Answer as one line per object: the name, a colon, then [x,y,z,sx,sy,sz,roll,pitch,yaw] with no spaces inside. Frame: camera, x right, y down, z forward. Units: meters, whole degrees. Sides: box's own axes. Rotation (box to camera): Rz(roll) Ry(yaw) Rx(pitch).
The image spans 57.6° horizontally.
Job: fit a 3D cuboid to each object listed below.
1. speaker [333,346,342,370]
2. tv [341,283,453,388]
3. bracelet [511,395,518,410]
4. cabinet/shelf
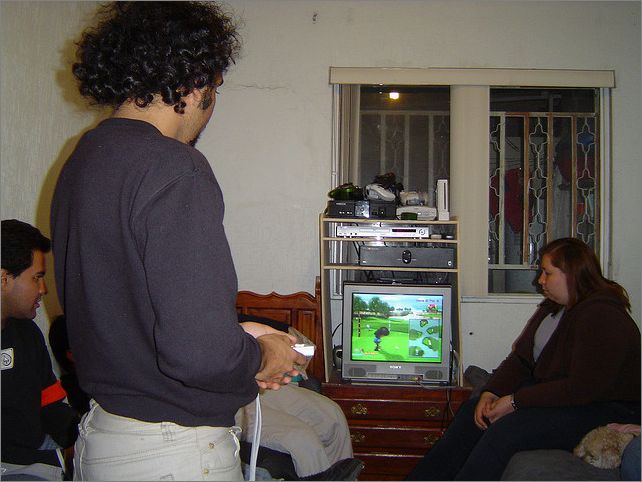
speaker: [0.103,0.719,3.593,0.088,0.119,0.116,1,-16,-1]
tv: [0.376,0.455,3.670,0.915,0.854,0.503,0,-3,4]
bracelet: [0.942,0.795,2.850,0.020,0.054,0.039,-1,-14,3]
cabinet/shelf: [0.377,0.340,3.529,0.806,1.057,0.417,3,8,-4]
